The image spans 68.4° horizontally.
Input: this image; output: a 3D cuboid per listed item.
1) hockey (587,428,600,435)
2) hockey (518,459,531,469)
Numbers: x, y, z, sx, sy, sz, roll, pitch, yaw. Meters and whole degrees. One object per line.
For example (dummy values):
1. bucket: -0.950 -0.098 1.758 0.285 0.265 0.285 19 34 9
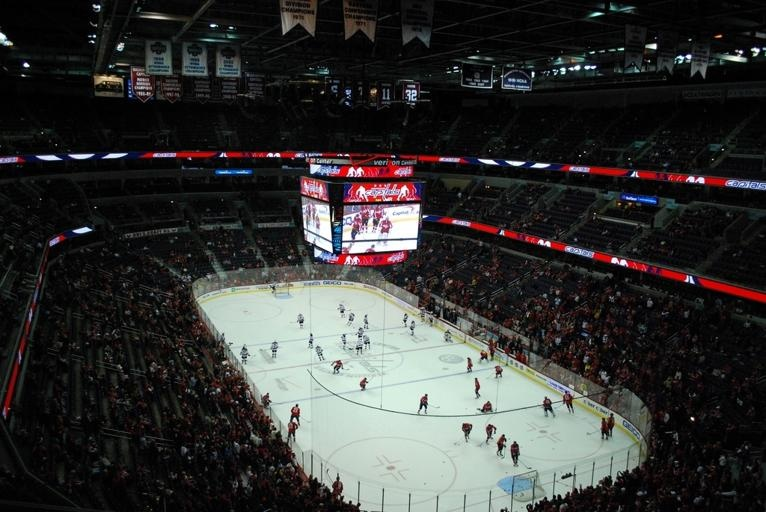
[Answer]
1. hockey: 11.110 9.242 29.720 0.780 0.191 0.437 2 39 -2
2. hockey: 6.861 9.999 27.179 0.646 0.188 0.529 8 39 5
